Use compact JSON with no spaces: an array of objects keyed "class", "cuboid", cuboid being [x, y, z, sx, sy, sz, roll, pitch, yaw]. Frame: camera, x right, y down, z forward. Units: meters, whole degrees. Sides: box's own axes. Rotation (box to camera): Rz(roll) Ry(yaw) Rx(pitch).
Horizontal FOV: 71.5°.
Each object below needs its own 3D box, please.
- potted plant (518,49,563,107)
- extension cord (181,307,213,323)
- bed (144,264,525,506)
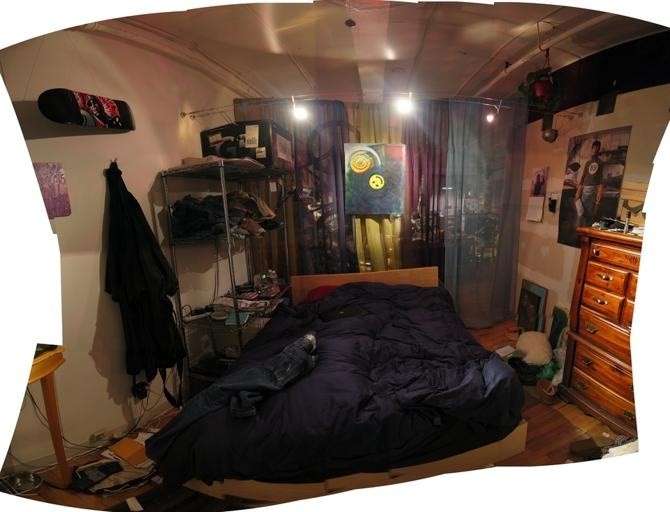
[{"class":"potted plant","cuboid":[0.719,-0.639,1.695,0.147,0.222,0.150,-14,33,7]},{"class":"extension cord","cuboid":[-0.734,0.312,2.483,0.077,0.035,0.111,1,3,38]},{"class":"bed","cuboid":[0.161,0.495,2.073,1.274,0.420,1.493,0,12,22]}]
